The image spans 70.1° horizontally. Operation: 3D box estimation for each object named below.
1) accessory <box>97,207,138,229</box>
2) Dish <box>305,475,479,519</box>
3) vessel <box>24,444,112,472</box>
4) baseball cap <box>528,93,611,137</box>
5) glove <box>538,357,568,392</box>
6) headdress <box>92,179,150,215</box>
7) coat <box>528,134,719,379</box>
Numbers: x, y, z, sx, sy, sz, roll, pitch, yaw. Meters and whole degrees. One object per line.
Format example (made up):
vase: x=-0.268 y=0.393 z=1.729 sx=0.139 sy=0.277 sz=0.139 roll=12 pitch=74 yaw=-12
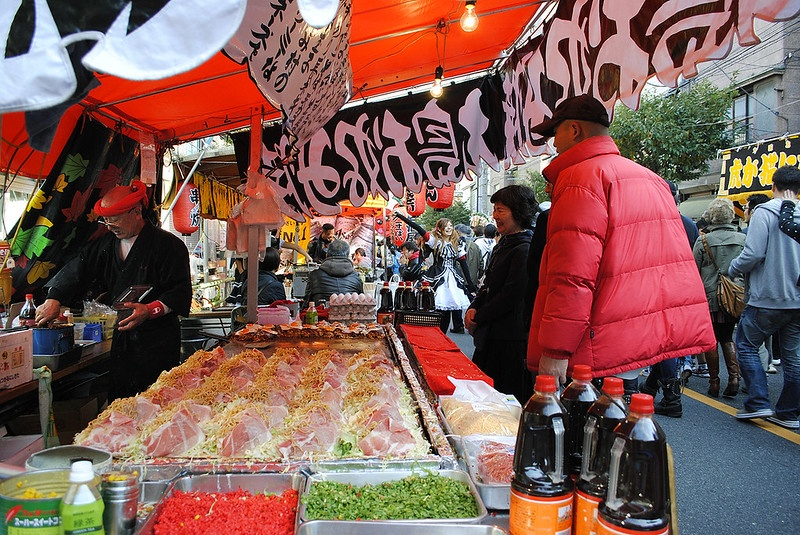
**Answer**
accessory: x=-2.204 y=-0.378 z=4.524 sx=0.182 sy=0.089 sz=0.211 roll=-2 pitch=11 yaw=8
Dish: x=-0.036 y=1.034 z=2.533 sx=0.471 sy=0.066 sz=0.271 roll=0 pitch=1 yaw=-2
vessel: x=-1.400 y=0.794 z=2.385 sx=0.179 sy=0.073 sz=0.186 roll=-3 pitch=-10 yaw=39
baseball cap: x=1.037 y=-0.920 z=3.482 sx=0.379 sy=0.200 sz=0.244 roll=7 pitch=11 yaw=21
glove: x=0.857 y=0.579 z=3.241 sx=0.219 sy=0.206 sz=0.221 roll=1 pitch=-3 yaw=7
headdress: x=-2.228 y=-0.515 z=4.500 sx=0.348 sy=0.188 sz=0.422 roll=0 pitch=22 yaw=15
coat: x=1.351 y=-0.109 z=3.584 sx=1.461 sy=1.425 sz=0.932 roll=-5 pitch=4 yaw=-41
